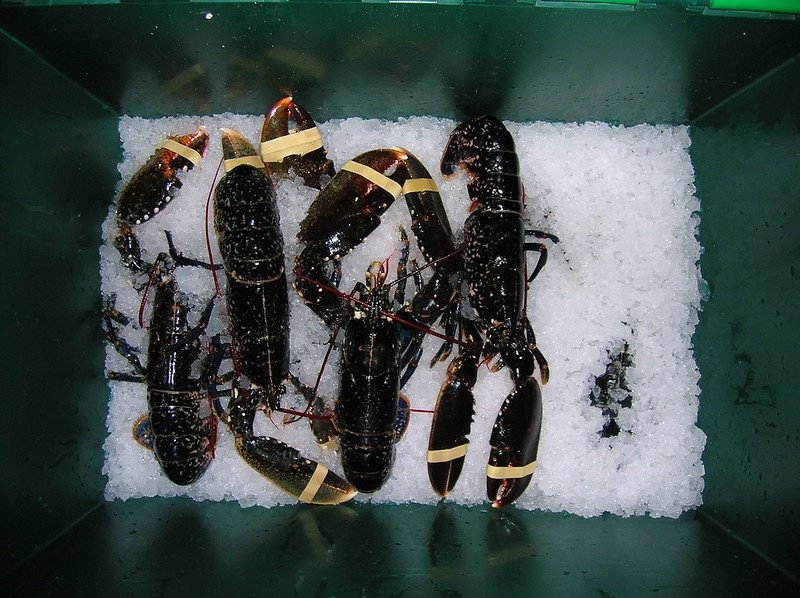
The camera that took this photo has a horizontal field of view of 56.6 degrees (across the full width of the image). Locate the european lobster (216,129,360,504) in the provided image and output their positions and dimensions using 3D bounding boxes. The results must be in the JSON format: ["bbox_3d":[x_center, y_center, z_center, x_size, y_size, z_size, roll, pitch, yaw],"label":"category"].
[{"bbox_3d":[-0.705,0.133,3.803,0.755,1.878,0.764,-7,27,-22],"label":"european lobster"}]

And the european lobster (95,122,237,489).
[{"bbox_3d":[-1.234,0.060,3.944,0.682,1.825,0.609,6,27,9],"label":"european lobster"}]

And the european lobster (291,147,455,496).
[{"bbox_3d":[-0.156,0.137,3.906,1.244,1.720,0.281,7,7,-5],"label":"european lobster"}]

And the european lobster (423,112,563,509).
[{"bbox_3d":[0.493,0.042,4.057,0.786,2.047,0.381,2,-9,-13],"label":"european lobster"}]
